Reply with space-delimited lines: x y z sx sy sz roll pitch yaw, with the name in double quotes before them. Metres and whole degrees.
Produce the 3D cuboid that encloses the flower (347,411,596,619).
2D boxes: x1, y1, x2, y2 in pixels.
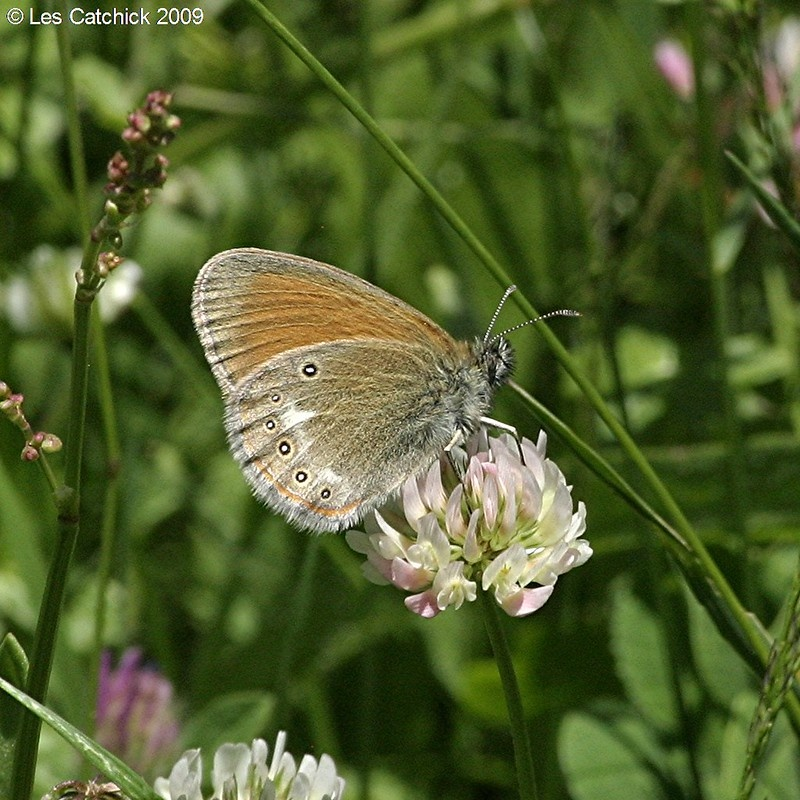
"flower" 0.113 0.190 1.404 0.287 0.150 0.301 13 50 20
